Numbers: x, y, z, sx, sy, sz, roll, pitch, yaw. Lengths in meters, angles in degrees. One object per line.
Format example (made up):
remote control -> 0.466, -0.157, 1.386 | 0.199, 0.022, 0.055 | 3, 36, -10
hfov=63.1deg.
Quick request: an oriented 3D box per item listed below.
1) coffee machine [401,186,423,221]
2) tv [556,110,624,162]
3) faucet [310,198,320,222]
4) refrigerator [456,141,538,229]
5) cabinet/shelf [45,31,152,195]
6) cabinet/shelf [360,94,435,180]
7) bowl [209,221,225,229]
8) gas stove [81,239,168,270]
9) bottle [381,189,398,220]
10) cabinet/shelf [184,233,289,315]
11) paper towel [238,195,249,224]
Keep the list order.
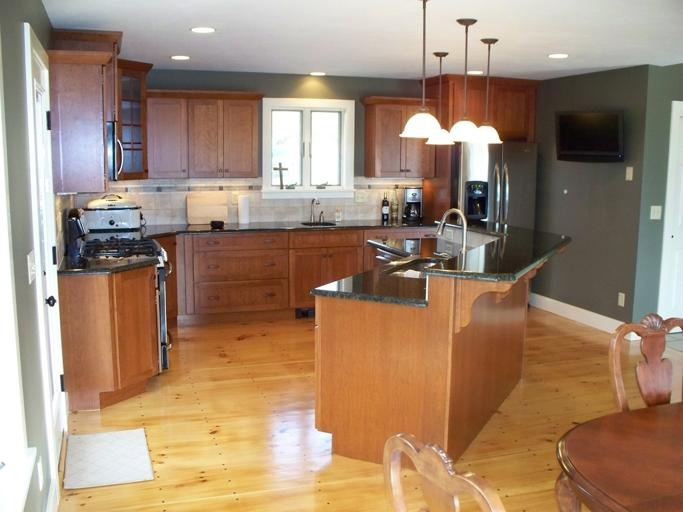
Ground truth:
coffee machine -> 0.953, -0.681, 7.338 | 0.238, 0.407, 0.233 | 1, 13, -1
tv -> 2.729, -1.310, 6.069 | 0.089, 0.607, 1.081 | -4, 6, -34
faucet -> -0.329, -0.569, 7.051 | 0.118, 0.296, 0.183 | 0, 13, -2
refrigerator -> 1.911, -0.917, 7.043 | 0.970, 1.078, 0.770 | 1, 11, -10
cabinet/shelf -> -2.114, -1.285, 5.206 | 0.729, 1.312, 2.468 | -3, 13, -18
cabinet/shelf -> 0.712, -1.409, 6.955 | 1.380, 1.283, 0.567 | -2, 7, -19
bowl -> -1.444, -0.348, 6.444 | 0.118, 0.107, 0.126 | 2, 16, -1
gas stove -> -1.859, -0.046, 4.781 | 0.440, 0.109, 0.414 | -1, 11, -10
bottle -> 0.644, -0.656, 7.255 | 0.229, 0.423, 0.358 | 2, 13, 5
cabinet/shelf -> -1.168, 0.198, 6.328 | 1.402, 0.859, 0.628 | 0, 11, -24
paper towel -> -1.157, -0.553, 6.781 | 0.163, 0.341, 0.175 | -6, 14, -27
